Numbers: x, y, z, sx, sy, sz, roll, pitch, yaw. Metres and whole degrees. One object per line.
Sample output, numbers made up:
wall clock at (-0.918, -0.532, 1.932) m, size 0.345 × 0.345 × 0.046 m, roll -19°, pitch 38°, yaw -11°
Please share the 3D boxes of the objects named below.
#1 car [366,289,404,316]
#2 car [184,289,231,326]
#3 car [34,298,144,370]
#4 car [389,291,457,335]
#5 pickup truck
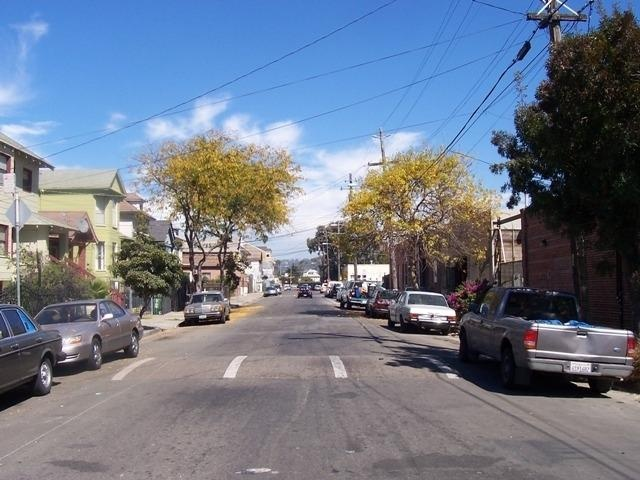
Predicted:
car at (3.235, 3.160, 28.983) m, size 1.385 × 1.336 × 3.560 m, roll -2°, pitch 1°, yaw -1°
car at (-5.844, 3.541, 29.708) m, size 1.971 × 1.648 × 2.623 m, roll -1°, pitch -2°, yaw -1°
car at (-5.975, 2.413, 15.158) m, size 1.182 × 1.067 × 2.747 m, roll -1°, pitch -10°, yaw 9°
car at (3.835, 2.846, 22.897) m, size 1.209 × 1.045 × 2.869 m, roll 2°, pitch -1°, yaw -7°
pickup truck at (4.530, 2.096, 13.102) m, size 1.717 × 1.549 × 3.806 m, roll 3°, pitch 0°, yaw -9°
